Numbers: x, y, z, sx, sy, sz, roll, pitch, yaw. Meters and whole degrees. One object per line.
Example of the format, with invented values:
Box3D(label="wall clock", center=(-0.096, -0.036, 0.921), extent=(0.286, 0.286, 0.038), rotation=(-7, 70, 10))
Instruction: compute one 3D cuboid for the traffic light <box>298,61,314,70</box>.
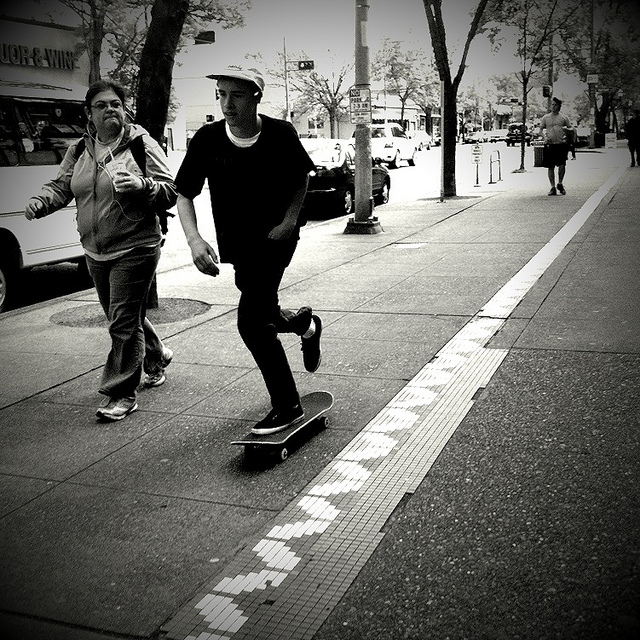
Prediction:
Box3D(label="traffic light", center=(-1.071, -19.362, 53.869), extent=(0.966, 0.315, 1.105), rotation=(2, 8, 8))

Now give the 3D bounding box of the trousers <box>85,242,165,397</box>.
Box3D(label="trousers", center=(-1.282, -0.018, 4.673), extent=(0.585, 0.937, 0.483), rotation=(-12, 15, -41))

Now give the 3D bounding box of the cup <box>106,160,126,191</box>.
Box3D(label="cup", center=(-1.197, -0.853, 4.173), extent=(0.106, 0.175, 0.210), rotation=(-6, 12, -16))

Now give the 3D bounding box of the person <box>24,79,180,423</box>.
Box3D(label="person", center=(-1.330, -0.450, 4.527), extent=(0.808, 2.081, 0.657), rotation=(0, 11, 13))

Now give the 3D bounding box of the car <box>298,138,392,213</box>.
Box3D(label="car", center=(0.202, -3.461, 17.781), extent=(1.861, 1.522, 4.242), rotation=(5, 19, 27))

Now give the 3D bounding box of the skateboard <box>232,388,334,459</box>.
Box3D(label="skateboard", center=(-0.136, 0.525, 4.004), extent=(0.214, 0.151, 0.798), rotation=(4, 14, 21))

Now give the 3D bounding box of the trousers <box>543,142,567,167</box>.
Box3D(label="trousers", center=(5.940, -4.182, 17.938), extent=(0.556, 0.591, 0.576), rotation=(1, 12, 18))
